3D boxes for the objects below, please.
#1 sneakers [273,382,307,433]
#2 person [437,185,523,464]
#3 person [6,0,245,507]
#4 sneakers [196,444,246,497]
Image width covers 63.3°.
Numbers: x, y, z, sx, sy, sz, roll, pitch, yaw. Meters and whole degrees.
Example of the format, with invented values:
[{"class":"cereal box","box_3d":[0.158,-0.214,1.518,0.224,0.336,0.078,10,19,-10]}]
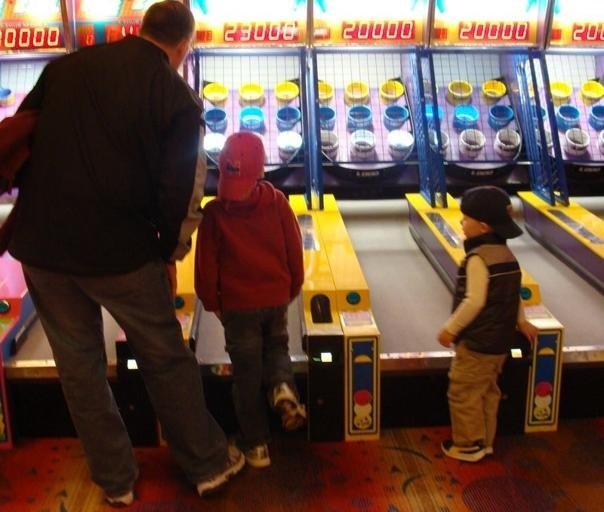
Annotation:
[{"class":"sneakers","box_3d":[-0.046,0.570,1.872,0.127,0.161,0.106,-8,13,-12]},{"class":"person","box_3d":[0.727,0.274,1.978,0.276,1.060,0.367,4,15,33]},{"class":"person","box_3d":[-0.604,0.059,1.634,0.680,1.717,0.254,-7,13,-12]},{"class":"sneakers","box_3d":[-0.289,0.812,1.844,0.082,0.118,0.255,-2,30,18]}]
